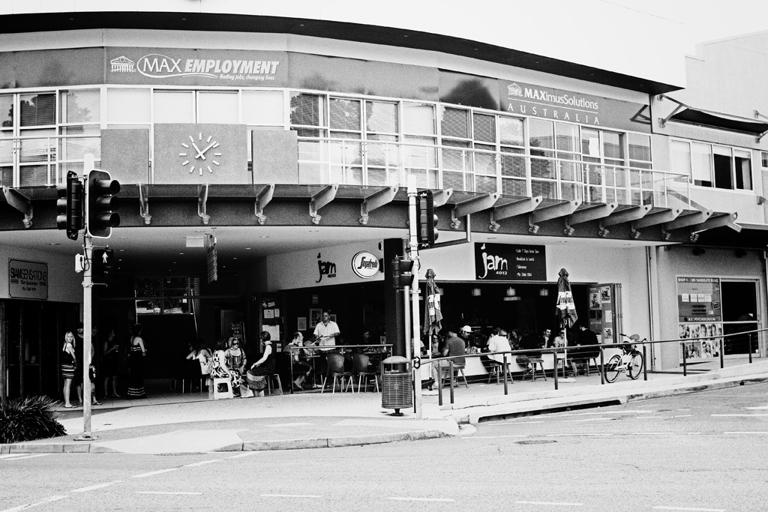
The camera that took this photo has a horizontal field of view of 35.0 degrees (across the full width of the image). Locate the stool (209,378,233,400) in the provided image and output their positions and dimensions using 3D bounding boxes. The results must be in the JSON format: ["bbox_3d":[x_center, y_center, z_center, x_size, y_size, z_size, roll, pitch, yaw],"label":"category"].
[{"bbox_3d":[-5.042,4.124,37.705,0.680,0.587,0.654,4,-11,-37],"label":"stool"}]

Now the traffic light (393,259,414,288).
[{"bbox_3d":[0.509,0.410,31.594,0.442,0.796,0.497,0,-9,-16],"label":"traffic light"}]

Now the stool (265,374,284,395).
[{"bbox_3d":[-3.594,4.237,39.852,0.760,0.630,0.712,2,-12,-23],"label":"stool"}]

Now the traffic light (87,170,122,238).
[{"bbox_3d":[-6.990,-1.327,30.104,0.786,1.697,0.588,0,-9,-12],"label":"traffic light"}]

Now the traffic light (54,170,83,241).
[{"bbox_3d":[-7.760,-1.236,30.182,0.641,1.638,0.638,3,-2,20],"label":"traffic light"}]

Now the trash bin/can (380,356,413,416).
[{"bbox_3d":[0.365,3.516,32.783,0.845,1.576,1.804,-2,-9,1],"label":"trash bin/can"}]

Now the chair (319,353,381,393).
[{"bbox_3d":[-1.118,3.753,38.808,1.812,1.263,2.699,-1,-8,-3],"label":"chair"}]
